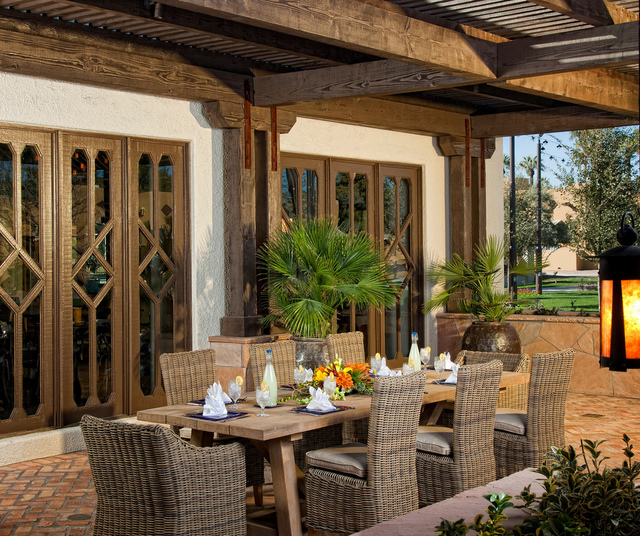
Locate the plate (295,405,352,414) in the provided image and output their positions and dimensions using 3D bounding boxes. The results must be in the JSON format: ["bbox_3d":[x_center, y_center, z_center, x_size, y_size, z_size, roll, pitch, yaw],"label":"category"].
[{"bbox_3d":[0.021,0.777,3.613,0.307,0.020,0.183,-1,3,-3],"label":"plate"}]

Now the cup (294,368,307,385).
[{"bbox_3d":[-0.125,0.678,4.134,0.076,0.116,0.196,-1,2,-2],"label":"cup"}]

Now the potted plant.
[{"bbox_3d":[1.981,0.320,8.190,1.438,1.545,1.343,0,-1,11],"label":"potted plant"}]

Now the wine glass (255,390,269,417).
[{"bbox_3d":[-0.319,0.723,3.675,0.068,0.156,0.245,-1,2,-5],"label":"wine glass"}]

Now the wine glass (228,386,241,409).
[{"bbox_3d":[-0.497,0.724,3.837,0.062,0.150,0.209,-1,2,-8],"label":"wine glass"}]
